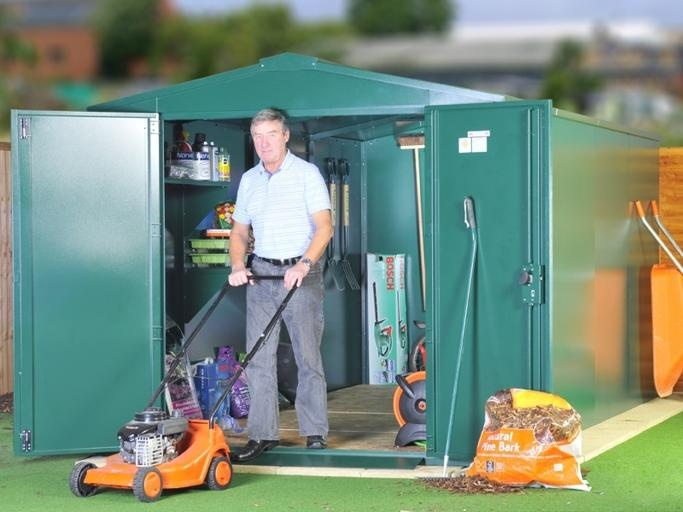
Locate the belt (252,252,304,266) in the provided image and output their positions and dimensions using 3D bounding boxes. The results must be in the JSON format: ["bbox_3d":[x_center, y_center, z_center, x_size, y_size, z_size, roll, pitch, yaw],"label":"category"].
[{"bbox_3d":[-0.462,0.031,7.672,0.378,0.069,0.070,3,13,20],"label":"belt"}]
